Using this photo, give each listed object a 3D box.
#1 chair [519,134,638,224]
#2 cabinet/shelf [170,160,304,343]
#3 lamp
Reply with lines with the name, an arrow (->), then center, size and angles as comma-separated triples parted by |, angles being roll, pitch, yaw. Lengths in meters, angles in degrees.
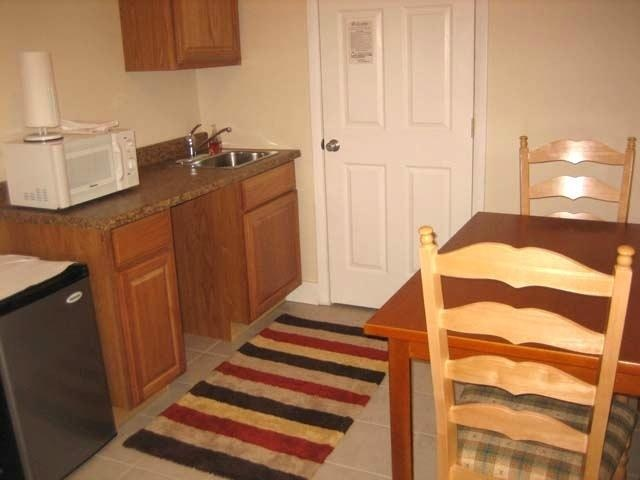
chair -> 1.346, -0.321, 2.687 | 0.435, 0.687, 0.399 | 5, 23, 25
cabinet/shelf -> -0.547, 0.079, 3.252 | 0.642, 1.132, 0.848 | 8, 25, 19
lamp -> -1.328, -0.678, 2.473 | 0.162, 0.395, 0.382 | -8, 20, -18
